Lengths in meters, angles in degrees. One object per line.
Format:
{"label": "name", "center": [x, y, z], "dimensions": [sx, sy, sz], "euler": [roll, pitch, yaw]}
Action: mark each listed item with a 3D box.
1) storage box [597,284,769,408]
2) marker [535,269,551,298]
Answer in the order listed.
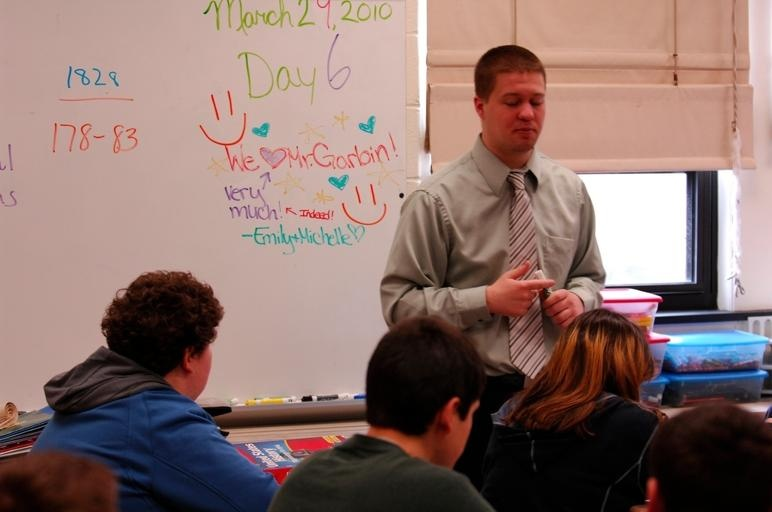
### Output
{"label": "storage box", "center": [1.315, 0.366, 2.884], "dimensions": [0.782, 0.243, 0.515], "euler": [0, 1, -18]}
{"label": "marker", "center": [0.497, 0.086, 2.056], "dimensions": [0.025, 0.076, 0.080], "euler": [-4, 10, -8]}
